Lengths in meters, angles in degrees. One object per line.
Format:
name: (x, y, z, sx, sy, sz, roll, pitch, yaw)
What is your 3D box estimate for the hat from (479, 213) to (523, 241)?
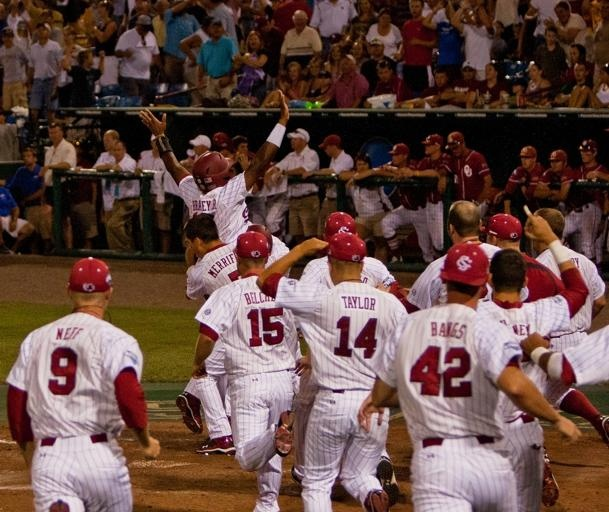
hat: (1.358, -0.194, 6.991, 0.150, 0.132, 0.226, -5, 24, -20)

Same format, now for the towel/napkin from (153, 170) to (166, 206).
towel/napkin: (-2.193, -1.053, 15.645, 0.134, 0.408, 0.283, -1, 40, 6)

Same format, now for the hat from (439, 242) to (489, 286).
hat: (0.879, 0.049, 5.489, 0.257, 0.189, 0.364, 1, 7, 24)

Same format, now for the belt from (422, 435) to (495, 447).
belt: (0.818, 0.975, 5.337, 0.392, 0.081, 0.054, 2, 4, 6)

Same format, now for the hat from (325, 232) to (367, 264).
hat: (0.268, -0.051, 6.279, 0.223, 0.175, 0.210, 2, 4, 2)

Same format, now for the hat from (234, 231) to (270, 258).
hat: (-0.336, -0.070, 6.832, 0.216, 0.180, 0.145, 1, 4, -4)

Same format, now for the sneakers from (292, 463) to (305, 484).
sneakers: (-0.040, 1.490, 6.867, 0.075, 0.110, 0.241, 1, 14, -4)

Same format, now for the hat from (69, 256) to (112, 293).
hat: (-1.207, 0.108, 5.780, 0.256, 0.212, 0.374, 5, 10, -3)

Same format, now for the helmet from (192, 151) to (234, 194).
helmet: (-0.772, -0.738, 8.825, 0.343, 0.318, 0.261, -26, 31, -28)
